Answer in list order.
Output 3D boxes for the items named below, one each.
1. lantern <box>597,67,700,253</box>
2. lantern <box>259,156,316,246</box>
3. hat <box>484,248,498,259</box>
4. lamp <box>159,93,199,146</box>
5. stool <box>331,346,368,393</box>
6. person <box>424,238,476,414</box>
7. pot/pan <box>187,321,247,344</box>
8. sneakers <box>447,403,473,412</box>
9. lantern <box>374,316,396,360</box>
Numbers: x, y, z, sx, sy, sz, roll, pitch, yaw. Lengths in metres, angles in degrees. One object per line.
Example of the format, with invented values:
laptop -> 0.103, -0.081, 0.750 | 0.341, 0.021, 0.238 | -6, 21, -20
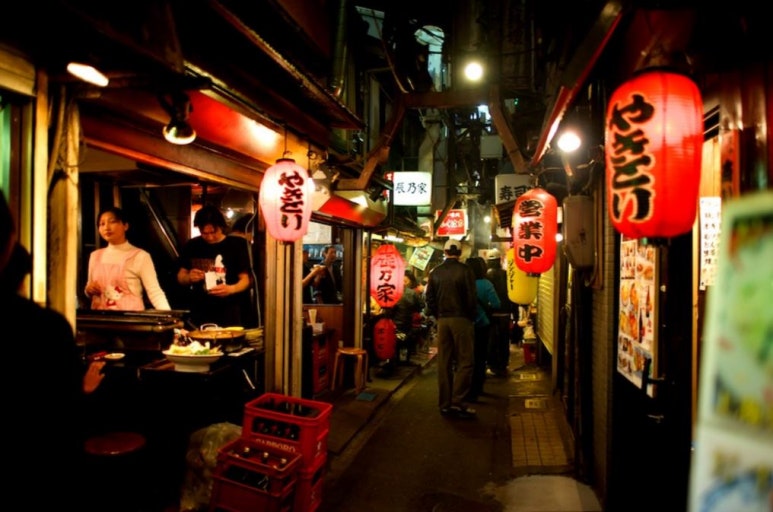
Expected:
lantern -> 2.672, -1.052, 6.096 | 0.865, 1.677, 0.443 | 3, 9, 23
lantern -> -1.523, -0.860, 9.113 | 0.771, 1.230, 0.296 | -2, 8, -12
hat -> 3.614, -0.093, 20.715 | 0.472, 0.388, 0.717 | -1, -9, 20
lamp -> -2.626, -1.755, 7.543 | 0.365, 0.597, 0.410 | -2, 8, -16
stool -> -0.845, 2.607, 14.157 | 0.818, 0.818, 0.780 | 5, 1, -7
person -> 1.364, 1.595, 12.714 | 0.874, 3.273, 1.324 | -1, 8, -10
pot/pan -> -2.531, 1.176, 9.075 | 0.698, 0.260, 0.892 | 0, 8, -3
sneakers -> 1.565, 3.161, 12.451 | 0.565, 0.223, 0.208 | -2, 3, 23
lantern -> -0.059, 2.171, 15.589 | 0.490, 1.143, 0.616 | 2, 8, 17
